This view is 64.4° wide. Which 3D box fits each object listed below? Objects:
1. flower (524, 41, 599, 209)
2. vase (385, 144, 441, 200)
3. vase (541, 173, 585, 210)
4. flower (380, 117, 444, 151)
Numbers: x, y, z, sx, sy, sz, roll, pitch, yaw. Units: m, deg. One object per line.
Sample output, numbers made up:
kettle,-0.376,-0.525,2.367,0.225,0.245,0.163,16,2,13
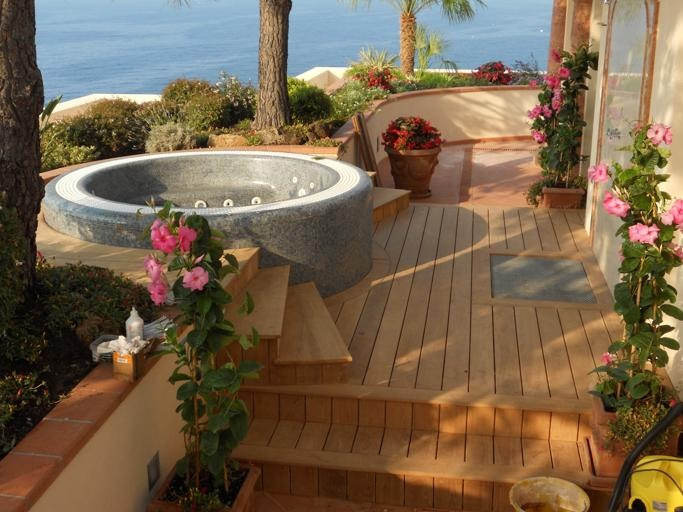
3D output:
flower,3.002,-1.652,7.494,0.861,2.130,0.733,1,6,15
vase,1.083,-1.266,8.208,0.712,0.604,0.773,8,21,28
vase,2.993,-0.835,7.267,0.545,0.385,0.509,5,22,22
flower,1.139,-1.870,8.162,0.646,0.401,0.605,-9,2,40
